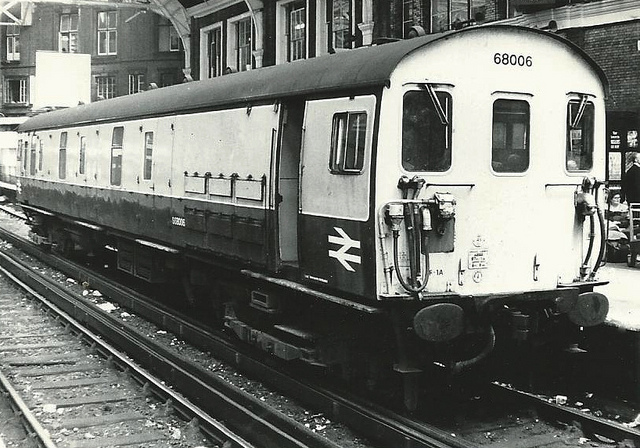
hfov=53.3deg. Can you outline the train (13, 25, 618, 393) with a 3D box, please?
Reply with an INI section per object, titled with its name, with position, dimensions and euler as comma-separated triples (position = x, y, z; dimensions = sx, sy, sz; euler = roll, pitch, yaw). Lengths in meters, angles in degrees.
[train]
position = -2.040, -0.742, 14.357
dimensions = 4.586, 5.053, 15.836
euler = -4, 7, -27
